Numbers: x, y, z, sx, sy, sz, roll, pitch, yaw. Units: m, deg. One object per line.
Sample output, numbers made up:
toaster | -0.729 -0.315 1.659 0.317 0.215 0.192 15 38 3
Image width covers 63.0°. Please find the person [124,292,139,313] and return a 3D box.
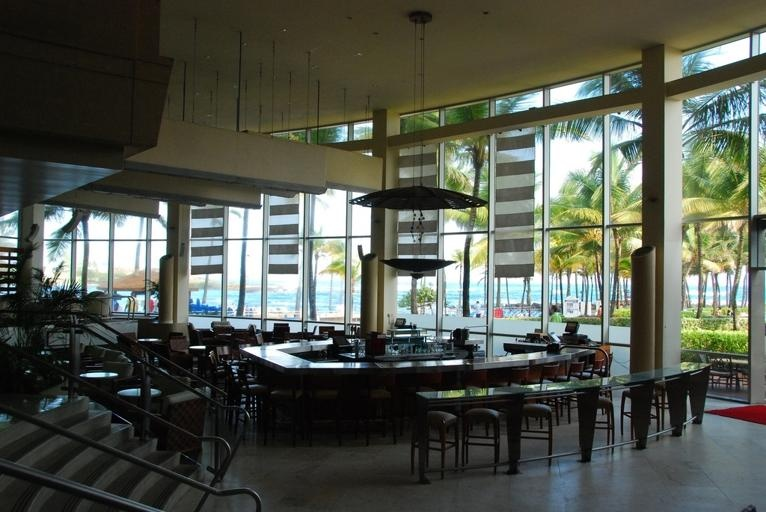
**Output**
person | -8.929 1.670 22.347 0.337 0.750 0.603 4 -5 -34

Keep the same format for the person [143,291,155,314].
person | -8.159 1.637 22.053 0.386 0.765 0.264 4 -6 -36

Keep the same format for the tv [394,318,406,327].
tv | 0.490 1.761 16.479 0.334 0.303 0.179 1 -26 10

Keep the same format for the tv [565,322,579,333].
tv | 4.269 1.606 14.049 0.308 0.163 0.327 3 29 22
